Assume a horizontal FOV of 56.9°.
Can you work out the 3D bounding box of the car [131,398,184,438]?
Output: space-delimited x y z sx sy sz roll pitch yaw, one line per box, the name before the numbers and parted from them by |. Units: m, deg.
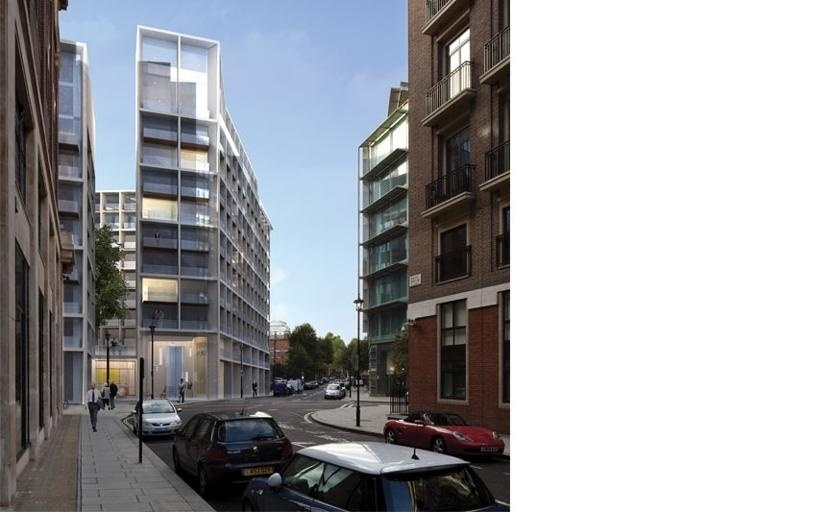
car | -7.853 4.993 23.476 1.640 1.000 3.090 3 -14 -26
